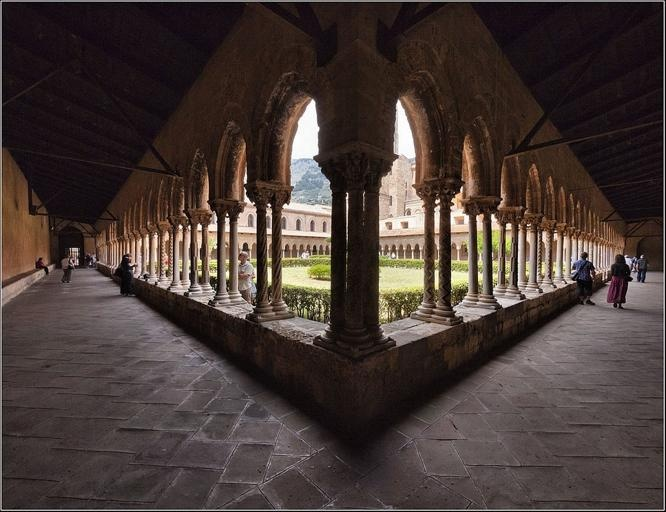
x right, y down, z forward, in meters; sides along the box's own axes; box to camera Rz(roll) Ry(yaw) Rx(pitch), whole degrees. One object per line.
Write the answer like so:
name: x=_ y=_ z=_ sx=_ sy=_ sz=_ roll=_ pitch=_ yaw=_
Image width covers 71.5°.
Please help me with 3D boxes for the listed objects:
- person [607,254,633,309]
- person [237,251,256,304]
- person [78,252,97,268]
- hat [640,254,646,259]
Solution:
person: x=6.639 y=0.544 z=10.767 sx=0.452 sy=1.204 sz=2.054 roll=-1 pitch=-1 yaw=32
person: x=-1.601 y=0.386 z=8.584 sx=0.317 sy=0.984 sz=1.128 roll=-1 pitch=-1 yaw=-10
person: x=-17.964 y=0.263 z=33.771 sx=0.825 sy=0.860 sz=1.288 roll=-2 pitch=-8 yaw=-15
hat: x=16.252 y=-0.020 z=24.320 sx=0.143 sy=0.271 sz=0.492 roll=-1 pitch=-3 yaw=16
